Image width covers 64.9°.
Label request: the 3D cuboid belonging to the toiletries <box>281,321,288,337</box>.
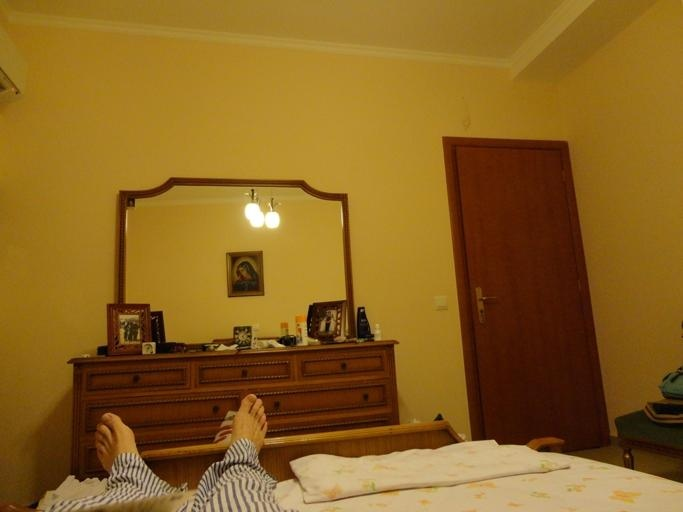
[{"bbox_3d":[-0.439,0.557,4.135,0.068,0.102,0.130,-1,-6,-7],"label":"toiletries"}]

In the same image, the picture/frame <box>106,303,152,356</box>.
[{"bbox_3d":[-1.482,0.514,3.738,0.321,0.453,0.043,2,-17,-35],"label":"picture/frame"}]

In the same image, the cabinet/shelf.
[{"bbox_3d":[-0.765,1.021,4.029,2.200,1.155,0.671,1,22,-17],"label":"cabinet/shelf"}]

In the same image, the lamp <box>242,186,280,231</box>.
[{"bbox_3d":[-0.621,-0.376,4.438,0.122,0.256,0.278,-24,8,-20],"label":"lamp"}]

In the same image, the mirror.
[{"bbox_3d":[-0.866,0.016,4.547,1.931,1.502,0.078,-2,27,-18],"label":"mirror"}]

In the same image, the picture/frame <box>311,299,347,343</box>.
[{"bbox_3d":[-0.101,0.508,4.147,0.287,0.349,0.035,0,-27,2],"label":"picture/frame"}]
